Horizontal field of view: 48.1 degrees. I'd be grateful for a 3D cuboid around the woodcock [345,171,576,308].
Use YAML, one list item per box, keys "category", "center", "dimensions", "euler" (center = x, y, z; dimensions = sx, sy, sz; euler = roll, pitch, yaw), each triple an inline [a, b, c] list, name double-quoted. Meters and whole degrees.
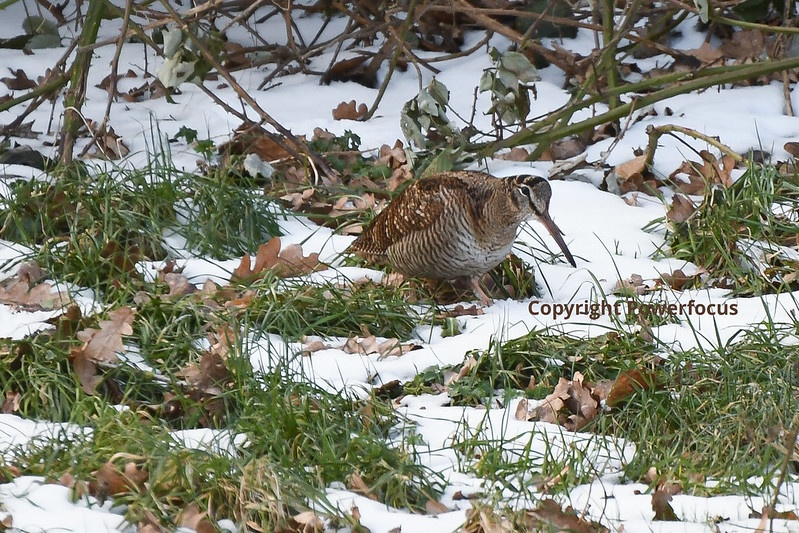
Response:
- category: "woodcock"
  center: [0.329, -0.201, 5.696]
  dimensions: [1.564, 0.822, 0.758]
  euler: [5, 4, 27]
